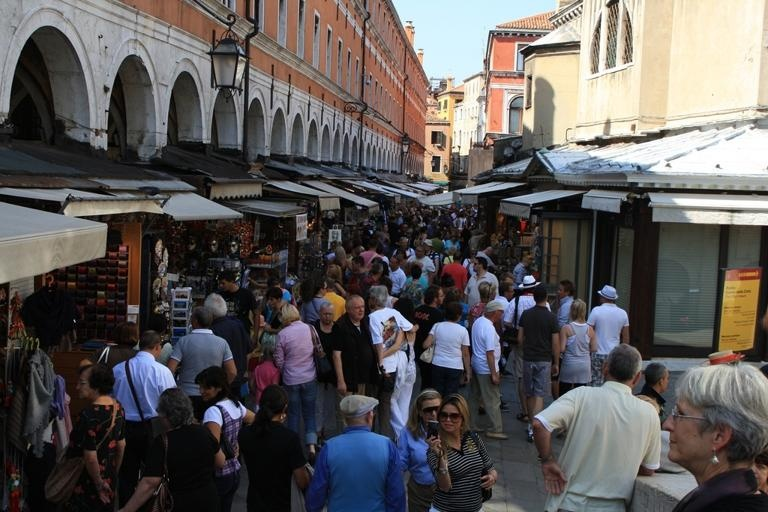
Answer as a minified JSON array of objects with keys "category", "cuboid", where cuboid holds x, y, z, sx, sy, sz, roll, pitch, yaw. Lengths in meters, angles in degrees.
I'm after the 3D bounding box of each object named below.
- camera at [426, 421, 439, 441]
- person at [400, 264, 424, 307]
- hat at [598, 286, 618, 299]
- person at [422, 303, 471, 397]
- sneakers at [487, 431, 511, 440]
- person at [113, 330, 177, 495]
[{"category":"camera","cuboid":[0.538,1.866,9.042,0.137,0.280,0.153,0,4,-8]},{"category":"person","cuboid":[0.542,0.545,15.219,0.430,0.999,0.303,14,21,26]},{"category":"hat","cuboid":[3.593,0.578,13.437,0.329,0.154,0.387,5,12,-2]},{"category":"person","cuboid":[0.949,1.629,12.410,0.603,1.800,0.499,1,-29,15]},{"category":"sneakers","cuboid":[1.774,2.703,12.759,0.347,0.165,0.124,-1,1,13]},{"category":"person","cuboid":[-3.027,2.108,10.535,0.823,2.510,0.780,1,12,-22]}]
